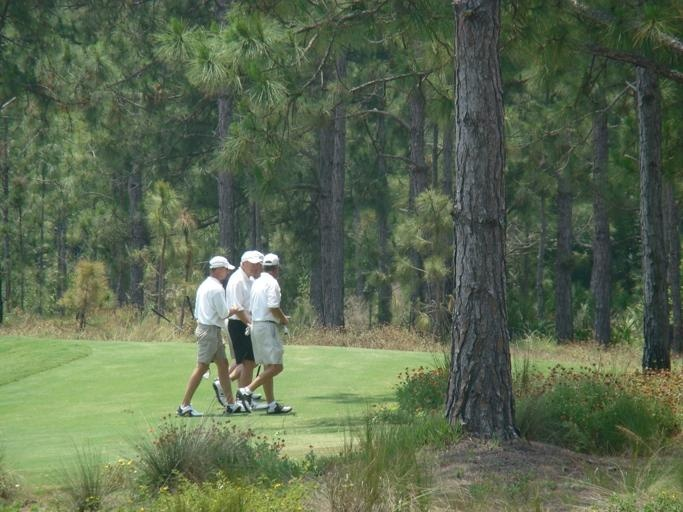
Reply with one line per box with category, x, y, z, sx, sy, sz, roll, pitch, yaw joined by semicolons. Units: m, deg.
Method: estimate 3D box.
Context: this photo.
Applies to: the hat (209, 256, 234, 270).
hat;-3.021;0.206;37.890;0.491;0.348;0.353;-2;3;-14
